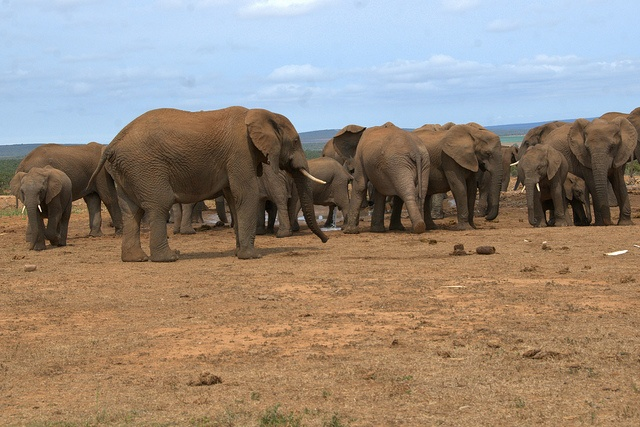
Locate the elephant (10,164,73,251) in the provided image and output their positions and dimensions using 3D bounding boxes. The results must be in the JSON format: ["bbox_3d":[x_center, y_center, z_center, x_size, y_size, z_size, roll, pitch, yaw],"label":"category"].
[{"bbox_3d":[-6.507,-0.123,16.329,1.061,1.971,2.341,-1,3,-6],"label":"elephant"}]
